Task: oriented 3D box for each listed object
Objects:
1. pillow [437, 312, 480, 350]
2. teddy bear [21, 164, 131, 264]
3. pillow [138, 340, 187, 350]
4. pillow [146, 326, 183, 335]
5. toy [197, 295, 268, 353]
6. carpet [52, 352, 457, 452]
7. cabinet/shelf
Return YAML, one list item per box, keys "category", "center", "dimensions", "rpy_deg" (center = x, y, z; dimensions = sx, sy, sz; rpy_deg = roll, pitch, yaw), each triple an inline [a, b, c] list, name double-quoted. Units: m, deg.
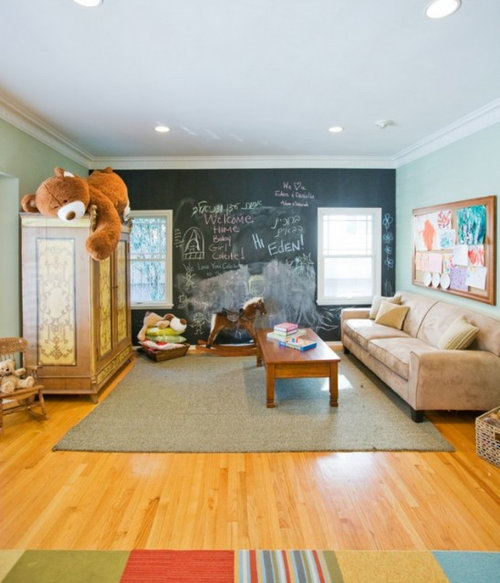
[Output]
- category: "pillow"
  center: [1.667, 0.340, 3.415]
  dimensions: [0.079, 0.248, 0.259]
  rpy_deg: [35, 2, -6]
- category: "teddy bear"
  center: [-1.388, -0.837, 3.692]
  dimensions: [0.857, 0.408, 1.099]
  rpy_deg: [20, 38, -6]
- category: "pillow"
  center: [-1.043, 0.625, 5.205]
  dimensions: [0.480, 0.075, 0.445]
  rpy_deg: [-7, 7, -36]
- category: "pillow"
  center: [-1.086, 0.487, 5.308]
  dimensions: [0.373, 0.119, 0.129]
  rpy_deg: [-4, 6, -12]
- category: "toy"
  center: [-0.220, 0.391, 5.348]
  dimensions: [0.825, 0.641, 0.435]
  rpy_deg: [-2, 5, 3]
- category: "carpet"
  center: [-0.017, 0.923, 3.729]
  dimensions: [2.578, 0.121, 1.931]
  rpy_deg: [-2, 6, 1]
- category: "cabinet/shelf"
  center: [-1.528, 0.144, 3.644]
  dimensions: [0.630, 1.665, 1.661]
  rpy_deg: [0, 3, -8]
